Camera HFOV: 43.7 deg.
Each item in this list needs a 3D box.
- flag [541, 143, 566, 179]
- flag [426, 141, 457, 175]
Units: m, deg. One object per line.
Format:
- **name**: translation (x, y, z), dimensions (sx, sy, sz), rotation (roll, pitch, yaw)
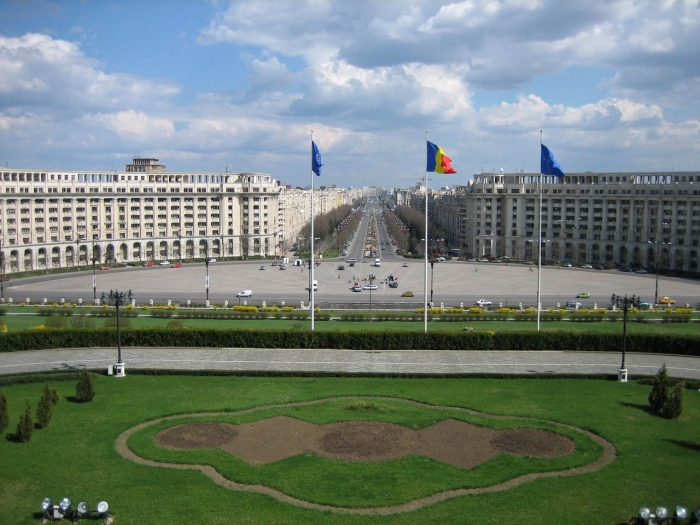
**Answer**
- **flag**: translation (21.317, -10.804, 93.162), dimensions (1.797, 3.064, 6.894), rotation (2, 6, 14)
- **flag**: translation (8.888, -10.490, 87.721), dimensions (2.192, 2.976, 2.609), rotation (1, 6, 6)
